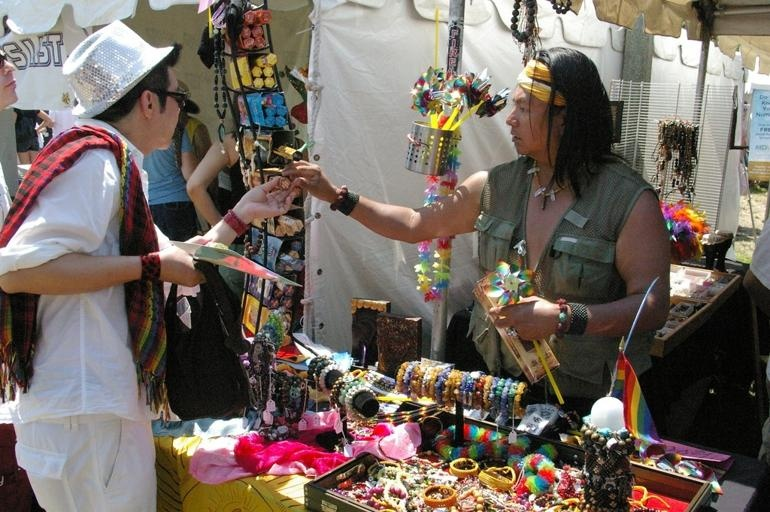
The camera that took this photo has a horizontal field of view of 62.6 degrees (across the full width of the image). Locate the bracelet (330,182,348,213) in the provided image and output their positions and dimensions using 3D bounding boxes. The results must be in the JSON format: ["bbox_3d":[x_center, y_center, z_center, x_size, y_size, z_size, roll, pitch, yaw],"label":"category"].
[{"bbox_3d":[-0.233,-0.329,3.439,0.048,0.112,0.126,22,31,-10],"label":"bracelet"}]

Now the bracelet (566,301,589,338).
[{"bbox_3d":[0.855,0.277,2.730,0.129,0.133,0.099,3,-1,-29],"label":"bracelet"}]

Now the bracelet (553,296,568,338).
[{"bbox_3d":[0.781,0.266,2.773,0.041,0.118,0.093,6,-7,0],"label":"bracelet"}]

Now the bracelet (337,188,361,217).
[{"bbox_3d":[-0.192,-0.301,3.470,0.113,0.105,0.142,32,15,3],"label":"bracelet"}]
